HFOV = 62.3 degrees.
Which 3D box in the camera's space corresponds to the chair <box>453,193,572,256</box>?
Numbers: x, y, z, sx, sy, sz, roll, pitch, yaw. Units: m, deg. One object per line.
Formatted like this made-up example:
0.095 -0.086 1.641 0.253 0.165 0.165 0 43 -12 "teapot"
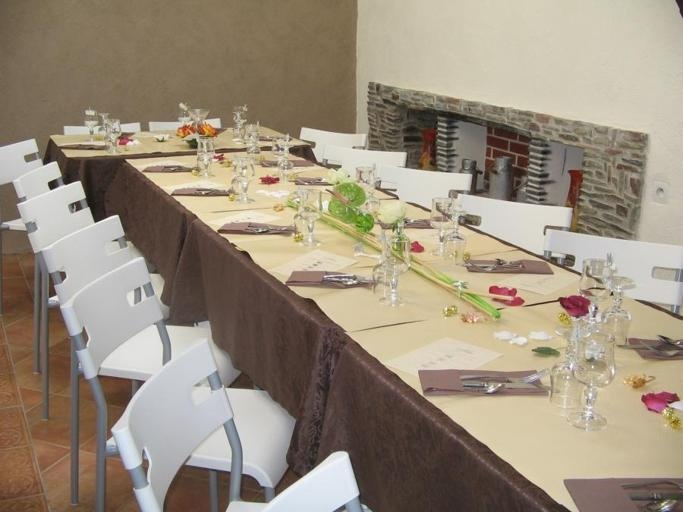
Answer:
0.843 -0.152 2.809 0.487 0.317 0.176 20 27 23 "chair"
